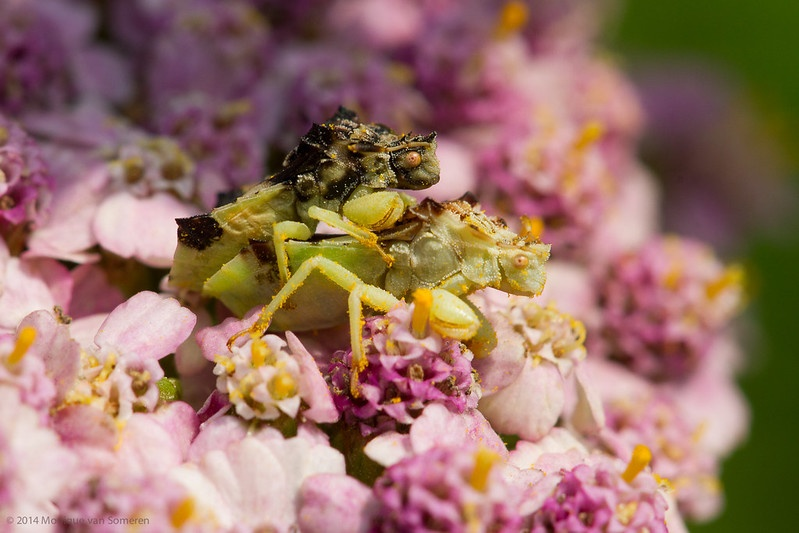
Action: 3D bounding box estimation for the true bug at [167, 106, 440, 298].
[{"bbox_3d":[-0.191,-0.146,1.924,0.488,0.311,0.242,-27,89,9],"label":"true bug"}]

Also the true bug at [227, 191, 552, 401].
[{"bbox_3d":[0.017,0.038,1.816,0.499,0.397,0.276,0,94,2],"label":"true bug"}]
